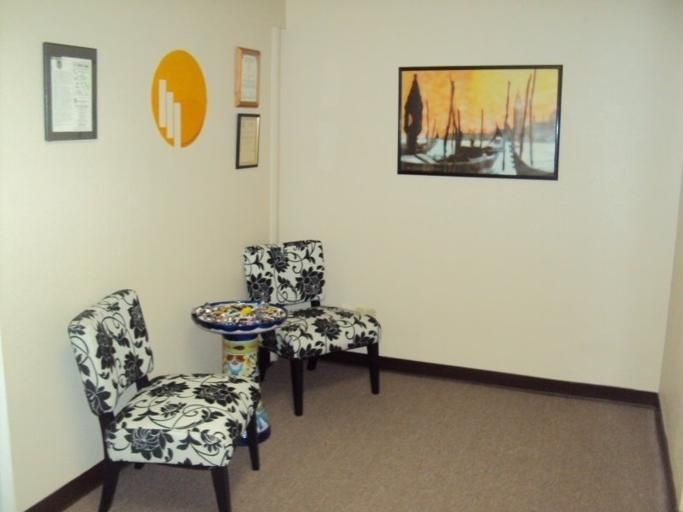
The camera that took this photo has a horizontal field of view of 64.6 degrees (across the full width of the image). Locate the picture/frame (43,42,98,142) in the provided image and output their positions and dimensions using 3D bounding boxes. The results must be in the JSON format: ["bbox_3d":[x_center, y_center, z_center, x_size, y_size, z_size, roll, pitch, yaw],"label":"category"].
[{"bbox_3d":[-1.263,-0.763,2.524,0.041,0.436,0.285,5,11,25],"label":"picture/frame"}]

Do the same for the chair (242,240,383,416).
[{"bbox_3d":[-0.221,0.418,3.742,0.704,0.997,0.782,-5,7,-33],"label":"chair"}]

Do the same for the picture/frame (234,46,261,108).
[{"bbox_3d":[-0.635,-1.211,3.706,0.033,0.416,0.367,-5,19,-33],"label":"picture/frame"}]

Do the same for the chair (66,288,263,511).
[{"bbox_3d":[-0.902,0.645,3.006,0.986,1.267,0.880,3,11,7],"label":"chair"}]
